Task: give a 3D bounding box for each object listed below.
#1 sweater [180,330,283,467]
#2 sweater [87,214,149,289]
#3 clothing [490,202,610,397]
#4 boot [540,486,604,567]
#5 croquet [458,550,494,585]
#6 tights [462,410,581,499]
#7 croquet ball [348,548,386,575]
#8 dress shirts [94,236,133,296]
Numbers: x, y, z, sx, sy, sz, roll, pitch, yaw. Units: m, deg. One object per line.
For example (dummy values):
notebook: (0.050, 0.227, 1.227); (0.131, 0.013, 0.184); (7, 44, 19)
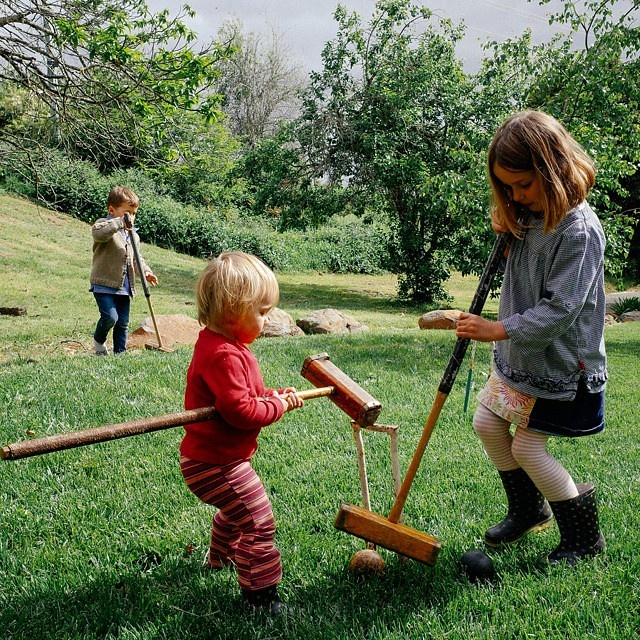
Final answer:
sweater: (-0.397, 0.284, 3.050); (0.532, 0.557, 0.566); (-2, 8, -14)
sweater: (-2.085, -0.617, 6.947); (0.417, 0.808, 0.452); (-4, 12, -13)
clothing: (1.021, -0.087, 3.055); (0.487, 0.838, 0.405); (1, 12, 12)
boot: (1.141, 0.944, 3.179); (0.304, 0.315, 0.159); (-16, 9, -13)
croquet: (0.686, 1.082, 3.055); (0.107, 0.105, 0.136); (-1, -7, -3)
tights: (0.978, 0.618, 3.326); (0.347, 0.259, 0.945); (-1, -34, 31)
croquet ball: (0.200, 1.077, 3.096); (0.106, 0.076, 0.105); (11, -30, 7)
dress shirts: (-2.080, -0.519, 7.017); (0.595, 0.529, 0.160); (-2, 5, -33)
